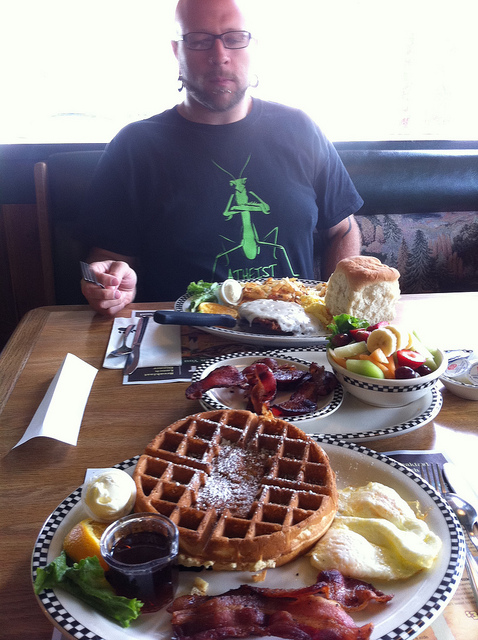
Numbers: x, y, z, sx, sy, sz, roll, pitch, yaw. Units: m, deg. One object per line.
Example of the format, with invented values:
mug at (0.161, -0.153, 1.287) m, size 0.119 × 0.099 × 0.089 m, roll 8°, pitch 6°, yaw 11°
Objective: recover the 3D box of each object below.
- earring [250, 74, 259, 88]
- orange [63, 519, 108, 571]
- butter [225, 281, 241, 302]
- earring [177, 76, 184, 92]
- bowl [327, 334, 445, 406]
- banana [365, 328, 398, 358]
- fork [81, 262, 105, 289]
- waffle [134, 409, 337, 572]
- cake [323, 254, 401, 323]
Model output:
earring at (0.096, -1.338, 3.082) m, size 0.075 × 0.017 × 0.076 m, roll -22°, pitch 35°, yaw -29°
orange at (-0.232, 0.332, 0.818) m, size 0.064 × 0.022 × 0.064 m, roll 7°, pitch 24°, yaw -46°
butter at (-0.033, -0.104, 2.020) m, size 0.023 × 0.063 × 0.064 m, roll -17°, pitch -30°, yaw 26°
earring at (-0.315, -1.263, 2.932) m, size 0.022 × 0.069 × 0.129 m, roll -2°, pitch 20°, yaw -12°
bowl at (0.345, 0.110, 1.313) m, size 0.219 × 0.108 × 0.206 m, roll -1°, pitch 19°, yaw 0°
banana at (0.341, 0.051, 1.320) m, size 0.068 × 0.065 × 0.020 m, roll -38°, pitch -8°, yaw 40°
fork at (-0.537, -0.152, 2.009) m, size 0.075 × 0.008 × 0.186 m, roll 0°, pitch 26°, yaw -12°
waffle at (-0.005, 0.289, 0.978) m, size 0.339 × 0.067 × 0.329 m, roll 24°, pitch 38°, yaw 32°
cake at (0.391, -0.095, 1.867) m, size 0.239 × 0.211 × 0.250 m, roll 25°, pitch 33°, yaw 38°
